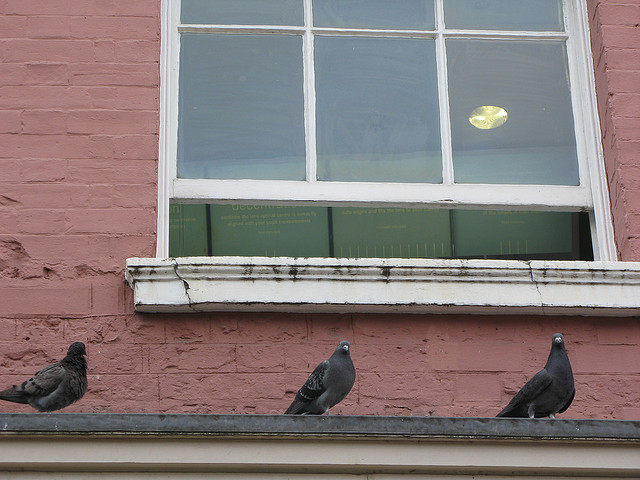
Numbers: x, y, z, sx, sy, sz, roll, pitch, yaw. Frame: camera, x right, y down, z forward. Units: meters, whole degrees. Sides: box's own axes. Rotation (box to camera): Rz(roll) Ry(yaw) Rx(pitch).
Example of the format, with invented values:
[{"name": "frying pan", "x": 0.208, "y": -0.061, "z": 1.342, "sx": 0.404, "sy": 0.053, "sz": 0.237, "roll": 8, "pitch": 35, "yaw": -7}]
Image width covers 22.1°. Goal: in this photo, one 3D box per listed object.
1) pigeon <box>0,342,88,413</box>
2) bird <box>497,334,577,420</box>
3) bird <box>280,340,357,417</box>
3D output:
[{"name": "pigeon", "x": -1.267, "y": 0.634, "z": 7.561, "sx": 0.386, "sy": 0.370, "sz": 0.186, "roll": 3, "pitch": -37, "yaw": -5}, {"name": "bird", "x": 1.000, "y": 0.689, "z": 7.698, "sx": 0.243, "sy": 0.385, "sz": 0.476, "roll": 14, "pitch": -21, "yaw": -35}, {"name": "bird", "x": 0.016, "y": 0.655, "z": 7.639, "sx": 0.177, "sy": 0.309, "sz": 0.351, "roll": 27, "pitch": -44, "yaw": -31}]
